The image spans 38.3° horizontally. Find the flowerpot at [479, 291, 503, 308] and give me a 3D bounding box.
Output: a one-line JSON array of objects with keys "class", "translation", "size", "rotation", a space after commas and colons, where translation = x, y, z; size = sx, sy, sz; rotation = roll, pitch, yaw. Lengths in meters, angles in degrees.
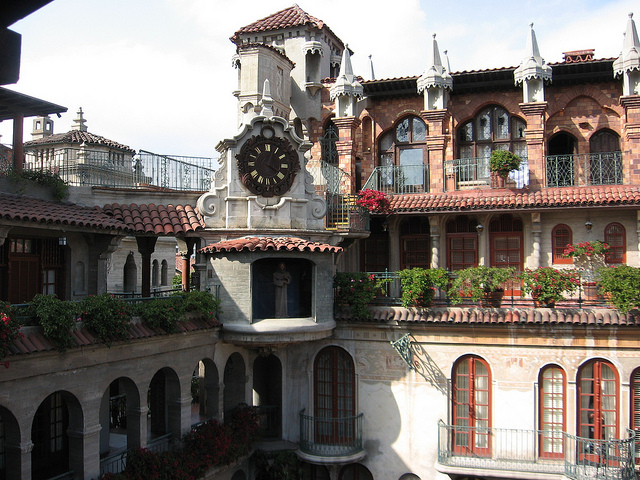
[{"class": "flowerpot", "translation": [7.264, 2.587, 39.325], "size": [0.744, 0.540, 0.759], "rotation": [-4, -7, 35]}]

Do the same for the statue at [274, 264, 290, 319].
[{"class": "statue", "translation": [-1.607, 2.185, 38.841], "size": [0.649, 2.221, 0.667], "rotation": [1, 10, -9]}]

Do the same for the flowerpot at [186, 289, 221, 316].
[{"class": "flowerpot", "translation": [-4.778, 2.705, 37.624], "size": [0.509, 1.098, 1.795], "rotation": [11, 12, 38]}]

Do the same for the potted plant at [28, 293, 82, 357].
[{"class": "potted plant", "translation": [-9.193, 3.136, 32.490], "size": [1.631, 2.133, 1.085], "rotation": [-2, 11, -28]}]

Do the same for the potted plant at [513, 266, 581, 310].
[{"class": "potted plant", "translation": [9.563, 1.902, 39.452], "size": [2.119, 1.534, 1.964], "rotation": [0, -8, -2]}]

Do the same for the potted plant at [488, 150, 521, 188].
[{"class": "potted plant", "translation": [8.283, -3.190, 42.197], "size": [1.673, 1.850, 1.543], "rotation": [3, -3, -1]}]

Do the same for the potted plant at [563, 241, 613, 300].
[{"class": "potted plant", "translation": [12.285, 1.377, 41.019], "size": [2.382, 3.049, 2.504], "rotation": [-1, -1, 9]}]

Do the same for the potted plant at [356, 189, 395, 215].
[{"class": "potted plant", "translation": [2.419, -1.635, 42.031], "size": [1.691, 1.099, 0.511], "rotation": [0, 10, -14]}]

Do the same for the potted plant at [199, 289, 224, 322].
[{"class": "potted plant", "translation": [-4.517, 2.787, 37.922], "size": [0.544, 1.263, 1.414], "rotation": [7, 11, 23]}]
